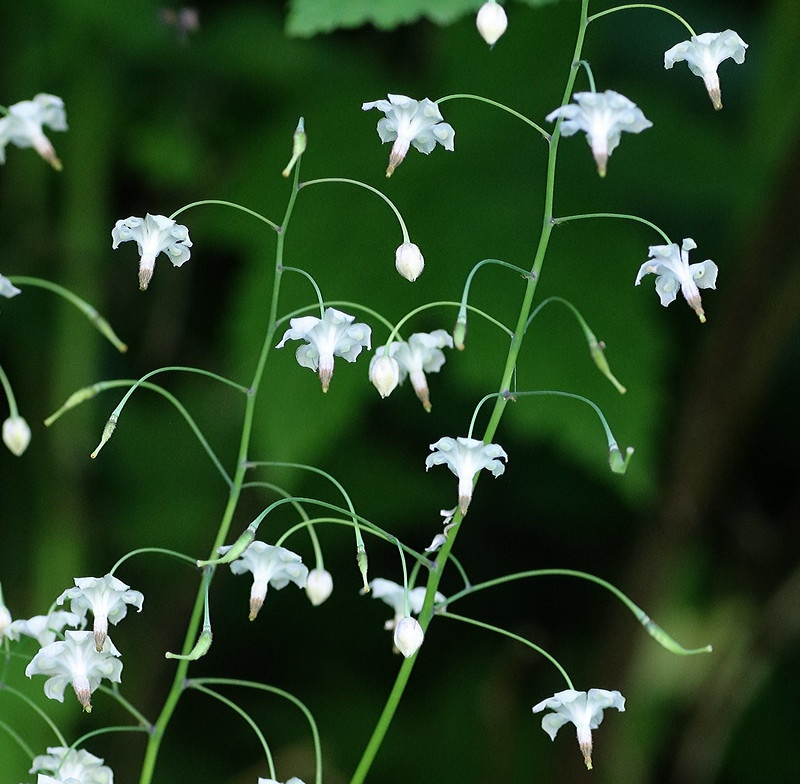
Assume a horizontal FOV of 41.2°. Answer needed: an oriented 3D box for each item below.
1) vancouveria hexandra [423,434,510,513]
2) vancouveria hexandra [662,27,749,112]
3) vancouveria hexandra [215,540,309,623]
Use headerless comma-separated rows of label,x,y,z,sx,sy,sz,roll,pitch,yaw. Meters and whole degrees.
vancouveria hexandra,0.149,0.185,2.381,0.130,0.187,0.174,7,-31,3
vancouveria hexandra,0.712,-0.725,2.433,0.124,0.194,0.150,3,-12,-20
vancouveria hexandra,-0.324,0.443,2.506,0.172,0.198,0.182,33,-34,-5
